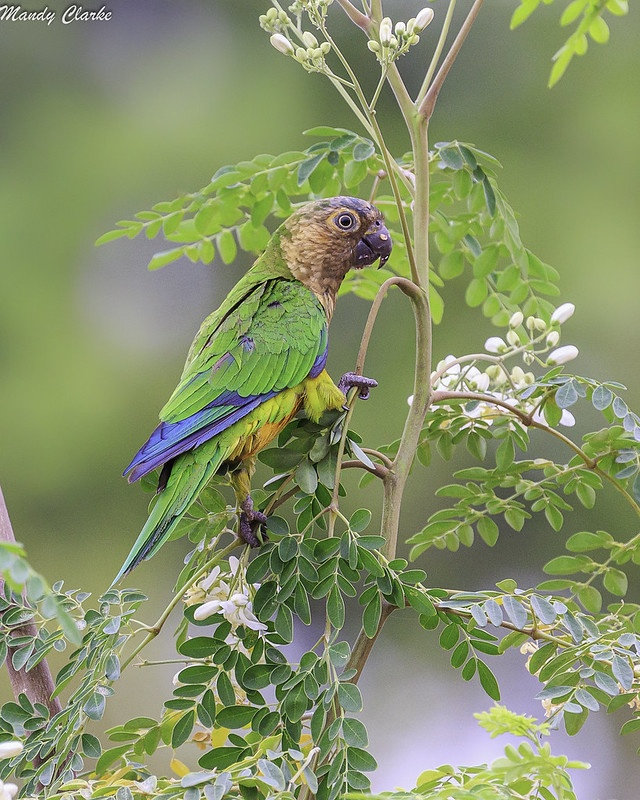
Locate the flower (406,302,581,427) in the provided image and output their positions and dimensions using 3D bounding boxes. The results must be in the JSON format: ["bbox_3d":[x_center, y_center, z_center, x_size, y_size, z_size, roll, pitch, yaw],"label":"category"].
[{"bbox_3d":[0.361,-0.069,2.020,0.393,0.203,0.252,-1,2,-9],"label":"flower"}]
